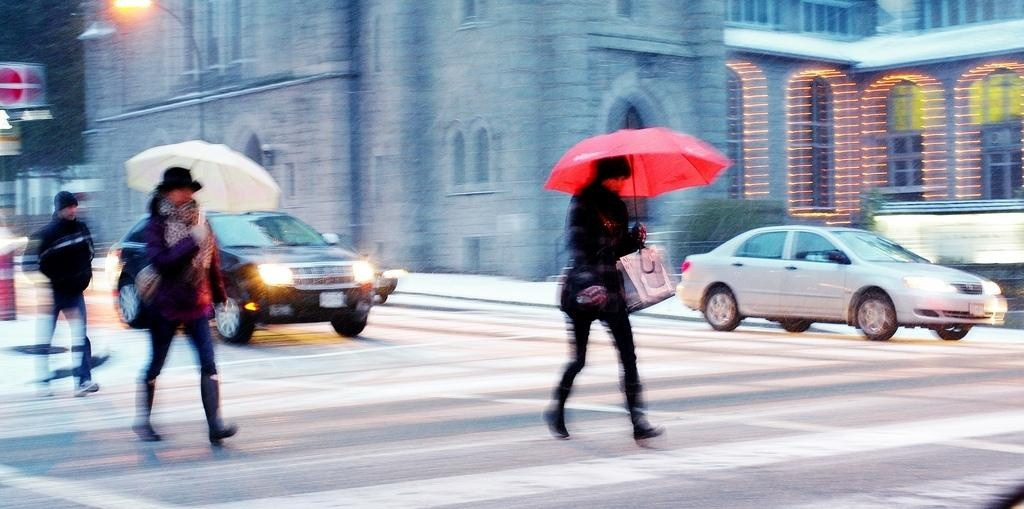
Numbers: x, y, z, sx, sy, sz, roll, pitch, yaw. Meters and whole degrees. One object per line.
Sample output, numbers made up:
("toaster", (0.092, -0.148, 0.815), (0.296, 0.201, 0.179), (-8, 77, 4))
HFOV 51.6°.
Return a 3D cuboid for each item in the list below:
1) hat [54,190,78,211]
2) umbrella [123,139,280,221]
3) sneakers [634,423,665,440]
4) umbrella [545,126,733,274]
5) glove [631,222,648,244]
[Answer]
("hat", (-8.618, -1.026, 20.273), (0.594, 0.316, 0.436), (1, 1, 4))
("umbrella", (-5.256, -1.380, 18.586), (2.253, 0.550, 2.038), (8, -6, 32))
("sneakers", (2.159, 2.820, 16.854), (0.455, 0.125, 0.294), (-1, -5, -21))
("umbrella", (2.342, -1.181, 17.474), (2.429, 1.092, 2.255), (-7, -1, 32))
("glove", (2.051, -0.346, 17.038), (0.425, 0.344, 0.188), (-2, 4, -3))
